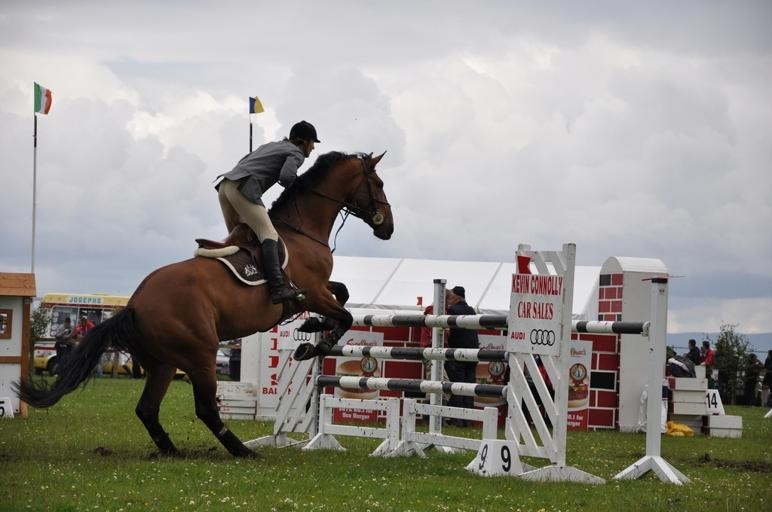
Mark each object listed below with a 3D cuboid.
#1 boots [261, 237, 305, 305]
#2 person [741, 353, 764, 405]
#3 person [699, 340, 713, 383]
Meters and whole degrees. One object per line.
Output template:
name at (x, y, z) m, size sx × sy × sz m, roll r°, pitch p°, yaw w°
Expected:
boots at (-1.297, 0.153, 12.380) m, size 0.536 × 0.855 × 0.247 m, roll -6°, pitch 27°, yaw 20°
person at (9.999, 3.332, 27.091) m, size 0.481 × 1.401 × 1.170 m, roll 2°, pitch -5°, yaw 19°
person at (8.354, 2.680, 25.908) m, size 0.285 × 1.067 × 1.498 m, roll 2°, pitch -5°, yaw 18°
